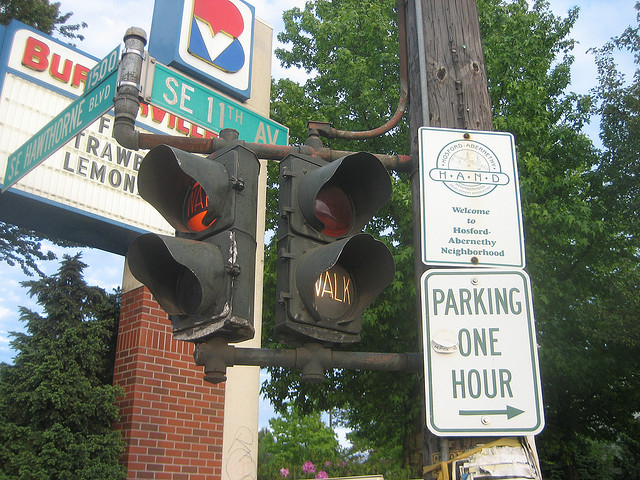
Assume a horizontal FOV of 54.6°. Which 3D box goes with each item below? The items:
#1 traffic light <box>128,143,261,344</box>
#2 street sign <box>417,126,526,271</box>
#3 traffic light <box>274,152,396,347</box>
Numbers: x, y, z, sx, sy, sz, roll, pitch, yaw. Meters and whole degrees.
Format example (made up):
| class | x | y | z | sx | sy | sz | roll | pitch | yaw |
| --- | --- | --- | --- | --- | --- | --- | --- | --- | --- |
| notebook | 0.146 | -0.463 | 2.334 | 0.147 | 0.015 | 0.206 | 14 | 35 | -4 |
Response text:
| class | x | y | z | sx | sy | sz | roll | pitch | yaw |
| --- | --- | --- | --- | --- | --- | --- | --- | --- | --- |
| traffic light | -1.049 | -0.112 | 5.356 | 1.062 | 0.824 | 2.023 | 16 | 60 | -34 |
| street sign | 1.332 | -0.336 | 5.557 | 1.074 | 0.121 | 1.711 | 3 | 69 | -10 |
| traffic light | 0.142 | 0.032 | 5.384 | 0.822 | 0.863 | 1.768 | 26 | 53 | -39 |
